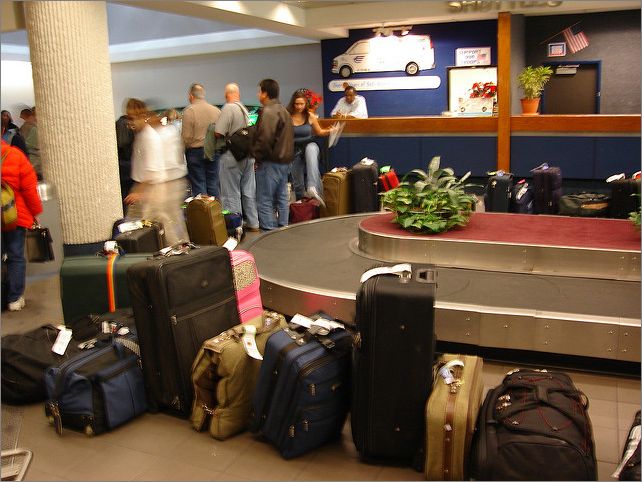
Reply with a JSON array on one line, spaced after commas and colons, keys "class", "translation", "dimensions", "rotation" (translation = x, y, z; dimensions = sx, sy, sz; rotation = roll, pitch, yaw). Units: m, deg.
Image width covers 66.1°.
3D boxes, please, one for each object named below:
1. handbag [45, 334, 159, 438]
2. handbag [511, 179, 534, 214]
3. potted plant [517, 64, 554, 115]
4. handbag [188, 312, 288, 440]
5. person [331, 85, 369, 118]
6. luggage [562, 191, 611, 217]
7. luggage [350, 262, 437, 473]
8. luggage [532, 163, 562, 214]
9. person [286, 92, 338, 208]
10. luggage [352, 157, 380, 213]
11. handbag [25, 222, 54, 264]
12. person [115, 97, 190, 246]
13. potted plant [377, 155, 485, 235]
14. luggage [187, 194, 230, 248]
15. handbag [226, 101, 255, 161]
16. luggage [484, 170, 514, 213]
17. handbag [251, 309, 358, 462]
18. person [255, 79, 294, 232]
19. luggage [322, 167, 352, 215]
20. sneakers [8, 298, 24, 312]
[{"class": "handbag", "translation": [-1.368, 0.842, 3.045], "dimensions": [0.473, 0.493, 0.684], "rotation": [1, 4, 18]}, {"class": "handbag", "translation": [2.579, -0.553, 6.394], "dimensions": [0.320, 0.460, 0.486], "rotation": [-1, 10, 37]}, {"class": "potted plant", "translation": [3.502, -2.521, 8.270], "dimensions": [0.546, 0.772, 0.555], "rotation": [1, 12, 2]}, {"class": "handbag", "translation": [-0.487, 0.765, 3.004], "dimensions": [0.354, 0.643, 0.685], "rotation": [12, 14, 28]}, {"class": "person", "translation": [0.529, -2.768, 9.988], "dimensions": [0.674, 0.752, 0.907], "rotation": [11, 22, 17]}, {"class": "luggage", "translation": [3.165, -0.433, 5.955], "dimensions": [0.511, 0.243, 0.316], "rotation": [2, 15, 24]}, {"class": "luggage", "translation": [0.358, 0.651, 2.474], "dimensions": [0.422, 0.898, 0.196], "rotation": [-1, 14, 12]}, {"class": "luggage", "translation": [2.861, -0.657, 6.269], "dimensions": [0.335, 0.600, 0.390], "rotation": [2, 15, 23]}, {"class": "person", "translation": [-0.220, -1.343, 7.153], "dimensions": [0.762, 1.844, 0.658], "rotation": [-6, -10, 9]}, {"class": "luggage", "translation": [0.601, -0.731, 6.698], "dimensions": [0.312, 0.850, 0.606], "rotation": [0, 15, 13]}, {"class": "handbag", "translation": [-2.503, 0.040, 4.360], "dimensions": [0.209, 0.292, 0.104], "rotation": [-2, 14, 10]}, {"class": "person", "translation": [-1.529, -0.601, 4.462], "dimensions": [0.554, 1.333, 0.460], "rotation": [-7, 14, -12]}, {"class": "potted plant", "translation": [0.982, -0.342, 4.682], "dimensions": [0.797, 0.548, 0.890], "rotation": [-3, 3, -5]}, {"class": "luggage", "translation": [-1.437, -0.170, 5.823], "dimensions": [0.414, 0.621, 0.375], "rotation": [-5, 5, 0]}, {"class": "handbag", "translation": [-1.000, -1.411, 6.584], "dimensions": [0.491, 0.726, 0.384], "rotation": [2, 5, -41]}, {"class": "luggage", "translation": [2.272, -0.630, 6.307], "dimensions": [0.394, 0.530, 0.404], "rotation": [-6, 16, -15]}, {"class": "handbag", "translation": [-0.075, 0.774, 2.757], "dimensions": [0.523, 0.728, 0.410], "rotation": [-14, 28, -42]}, {"class": "person", "translation": [-0.591, -1.058, 6.222], "dimensions": [0.552, 1.888, 0.612], "rotation": [-6, 14, -8]}, {"class": "luggage", "translation": [0.215, -0.666, 6.777], "dimensions": [0.392, 0.852, 0.582], "rotation": [2, 7, 25]}, {"class": "sneakers", "translation": [-2.789, 0.580, 4.512], "dimensions": [0.088, 0.100, 0.223], "rotation": [3, -10, -29]}]
